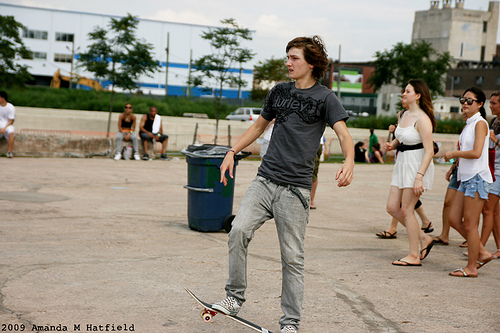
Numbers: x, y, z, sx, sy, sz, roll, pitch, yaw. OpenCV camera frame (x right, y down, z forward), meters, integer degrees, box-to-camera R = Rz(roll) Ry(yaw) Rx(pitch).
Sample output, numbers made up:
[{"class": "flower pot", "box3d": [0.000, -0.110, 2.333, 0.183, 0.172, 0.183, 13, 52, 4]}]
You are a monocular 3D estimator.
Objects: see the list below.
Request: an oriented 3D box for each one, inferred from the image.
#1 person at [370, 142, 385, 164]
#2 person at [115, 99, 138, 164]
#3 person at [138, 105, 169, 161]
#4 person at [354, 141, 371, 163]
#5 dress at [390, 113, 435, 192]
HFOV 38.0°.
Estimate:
[{"class": "person", "box3d": [5.081, -0.508, 29.044, 0.691, 0.685, 1.415, 0, 3, 1]}, {"class": "person", "box3d": [-3.958, -1.075, 23.337, 0.729, 1.724, 0.631, 1, 7, -11]}, {"class": "person", "box3d": [-3.200, -1.101, 24.073, 1.057, 1.734, 0.873, -2, 8, -32]}, {"class": "person", "box3d": [4.544, -0.556, 29.194, 0.638, 0.835, 1.914, 3, 6, 8]}, {"class": "dress", "box3d": [2.752, -0.261, 12.677, 0.332, 1.309, 0.619, -2, 8, -35]}]
